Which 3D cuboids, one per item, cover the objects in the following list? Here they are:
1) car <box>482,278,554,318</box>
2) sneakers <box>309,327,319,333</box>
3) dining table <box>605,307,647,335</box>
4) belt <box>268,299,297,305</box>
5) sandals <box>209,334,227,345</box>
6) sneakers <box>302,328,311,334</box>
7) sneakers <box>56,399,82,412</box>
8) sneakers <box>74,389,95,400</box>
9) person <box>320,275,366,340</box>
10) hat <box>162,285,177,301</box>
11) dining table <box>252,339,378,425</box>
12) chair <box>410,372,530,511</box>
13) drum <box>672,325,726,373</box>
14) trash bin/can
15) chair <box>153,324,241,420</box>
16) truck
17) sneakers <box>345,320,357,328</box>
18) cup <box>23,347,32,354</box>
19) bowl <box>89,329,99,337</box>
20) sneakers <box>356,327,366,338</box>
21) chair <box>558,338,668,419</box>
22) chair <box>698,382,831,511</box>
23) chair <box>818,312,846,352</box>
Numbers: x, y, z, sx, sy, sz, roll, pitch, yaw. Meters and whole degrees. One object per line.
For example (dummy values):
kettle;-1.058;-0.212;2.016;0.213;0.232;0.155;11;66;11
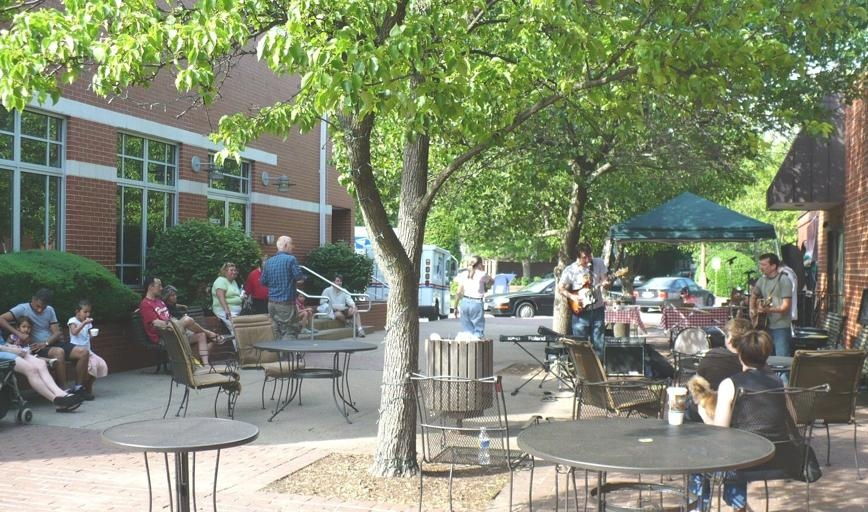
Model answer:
car;3.338;1.703;31.266;3.010;0.992;1.165;1;-5;-9
sneakers;-3.068;1.911;21.027;0.122;0.099;0.243;2;-8;-36
dining table;4.557;1.436;19.348;0.928;0.431;0.923;-2;-1;13
belt;-3.130;0.942;16.763;0.509;0.120;0.162;-3;-5;8
sandals;-4.473;1.728;16.881;0.213;0.133;0.485;3;-3;-35
sneakers;-3.228;1.921;20.875;0.352;0.144;0.117;-1;1;8
sneakers;-6.200;2.529;13.891;0.510;0.187;0.183;-9;-3;-7
sneakers;-6.087;2.410;14.185;0.161;0.174;0.427;-4;-1;-43
person;-2.565;1.403;22.420;1.256;1.650;0.875;0;-4;-27
hat;-5.500;0.788;17.009;0.351;0.436;0.320;-7;4;-16
dining table;-1.966;2.283;14.583;1.596;0.946;1.558;2;-3;-2
chair;0.436;2.458;11.226;1.398;1.751;2.208;-2;-5;1
drum;4.494;1.589;13.866;0.661;0.881;0.844;9;1;-39
trash bin/can;0.355;1.642;11.004;1.169;1.284;1.148;0;-5;-1
chair;-4.127;1.969;14.029;1.825;1.831;1.524;0;0;-28
truck;-0.582;0.992;29.926;2.089;1.695;3.293;1;2;16
sneakers;-2.251;1.868;22.656;0.426;0.179;0.163;-2;3;41
cup;-6.934;1.603;13.906;0.133;0.123;0.132;0;-8;0
bowl;-6.209;1.396;14.870;0.207;0.128;0.198;1;-5;0
sneakers;-2.045;2.131;22.750;0.286;0.289;0.694;0;-5;-9
chair;2.538;1.816;11.539;1.315;1.639;1.155;-2;0;-23
chair;3.956;2.162;10.296;1.530;2.006;1.570;-3;10;7
chair;7.944;1.469;16.194;0.379;0.660;1.478;-4;-5;25
